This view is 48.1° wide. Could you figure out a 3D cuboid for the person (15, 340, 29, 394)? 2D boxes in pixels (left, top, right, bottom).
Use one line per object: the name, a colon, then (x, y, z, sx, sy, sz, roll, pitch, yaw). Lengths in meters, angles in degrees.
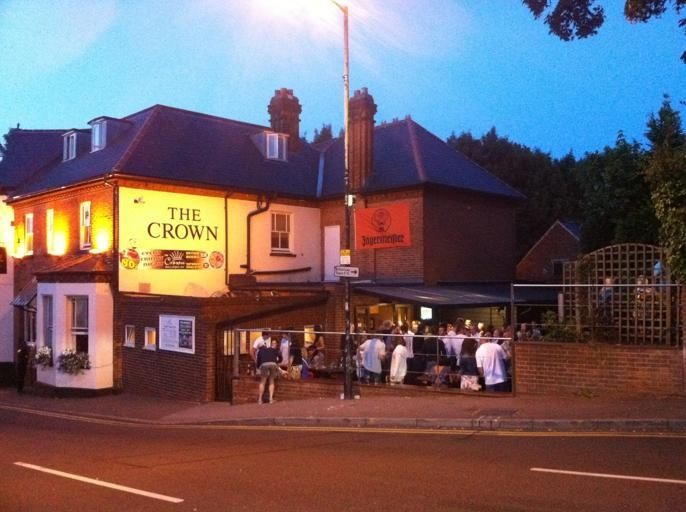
person: (-12.513, 4.360, 30.026, 0.358, 1.979, 1.335, 2, -7, -23)
